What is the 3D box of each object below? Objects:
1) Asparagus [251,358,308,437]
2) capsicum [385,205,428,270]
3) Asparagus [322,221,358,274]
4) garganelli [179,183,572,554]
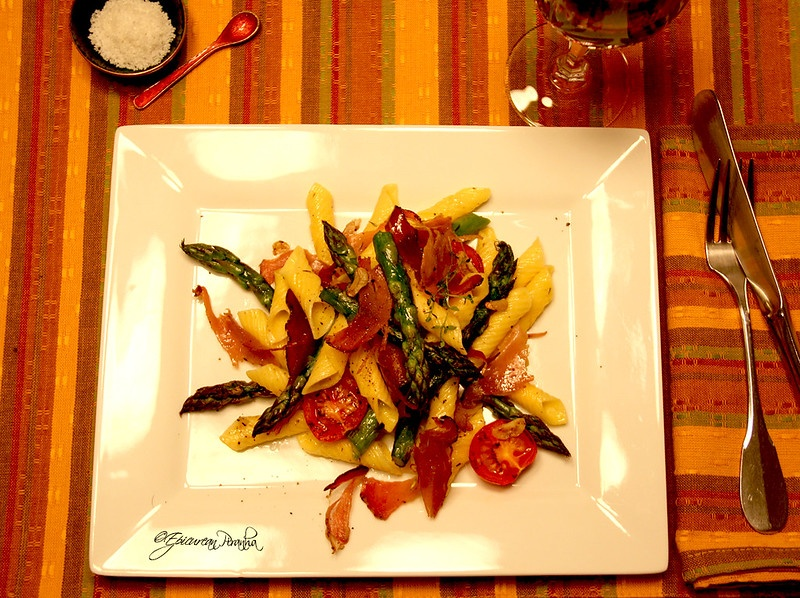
[{"bbox_3d":[-0.415,0.372,2.997,0.078,0.108,0.351,41,80,6],"label":"Asparagus"},{"bbox_3d":[0.026,-0.226,3.024,0.166,0.207,0.099,-2,29,-2],"label":"capsicum"},{"bbox_3d":[-0.211,-0.175,3.018,0.076,0.084,0.255,-18,81,3],"label":"Asparagus"},{"bbox_3d":[-0.076,0.311,3.034,1.160,0.311,1.312,-7,91,0],"label":"garganelli"}]
